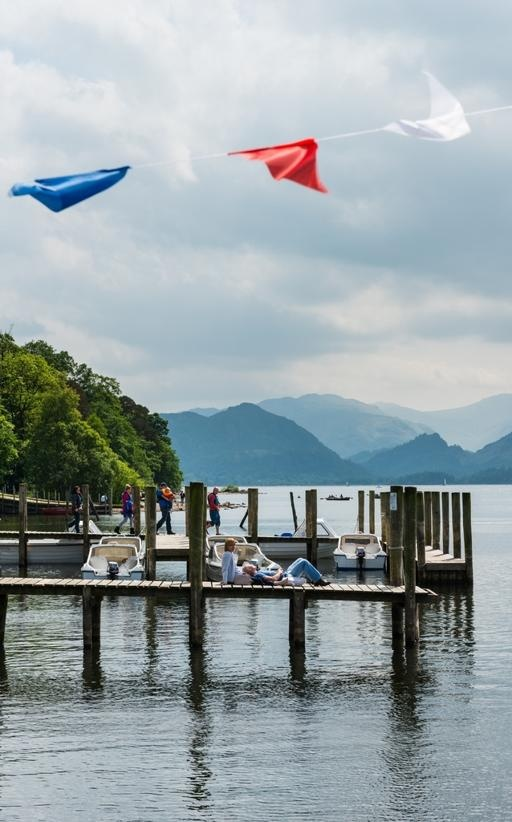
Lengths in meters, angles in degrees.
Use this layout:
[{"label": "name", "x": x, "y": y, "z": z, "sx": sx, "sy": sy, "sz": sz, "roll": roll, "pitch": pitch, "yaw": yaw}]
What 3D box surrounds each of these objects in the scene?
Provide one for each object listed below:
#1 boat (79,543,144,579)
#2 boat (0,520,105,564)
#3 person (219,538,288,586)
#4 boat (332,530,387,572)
[{"label": "boat", "x": -3.185, "y": 3.450, "z": 34.361, "sx": 1.027, "sy": 0.626, "sz": 1.745, "roll": 0, "pitch": -3, "yaw": -2}, {"label": "boat", "x": -5.892, "y": 3.866, "z": 43.275, "sx": 3.185, "sy": 1.139, "sz": 0.980, "roll": -1, "pitch": -1, "yaw": 1}, {"label": "person", "x": -0.055, "y": 2.748, "z": 27.316, "sx": 0.847, "sy": 0.575, "sz": 1.199, "roll": -1, "pitch": -9, "yaw": 13}, {"label": "boat", "x": 2.936, "y": 3.961, "z": 41.826, "sx": 1.033, "sy": 0.741, "sz": 1.896, "roll": -1, "pitch": -3, "yaw": 3}]
